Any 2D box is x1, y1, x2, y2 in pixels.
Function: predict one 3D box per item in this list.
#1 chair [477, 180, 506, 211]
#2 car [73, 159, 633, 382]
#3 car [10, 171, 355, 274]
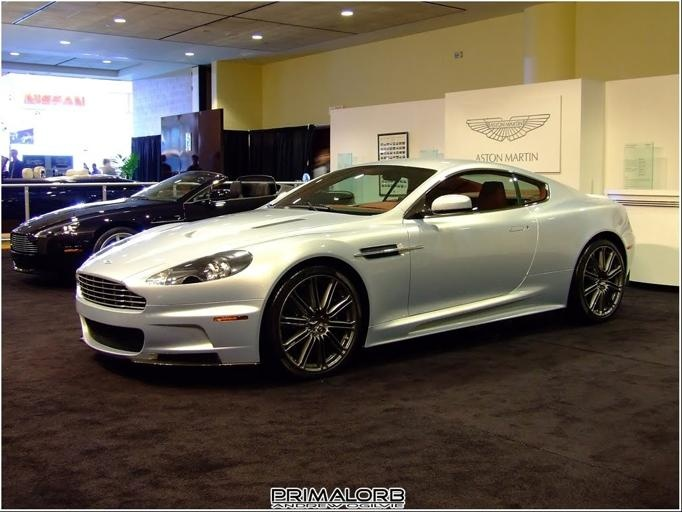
[{"bbox_3d":[1.397,-0.533,4.092,0.268,0.279,0.353,0,5,10],"label":"chair"},{"bbox_3d":[0.549,-0.075,4.248,5.335,1.690,1.500,-2,5,-28],"label":"car"},{"bbox_3d":[-2.662,-0.617,7.544,4.550,1.169,1.854,-3,4,-34],"label":"car"}]
